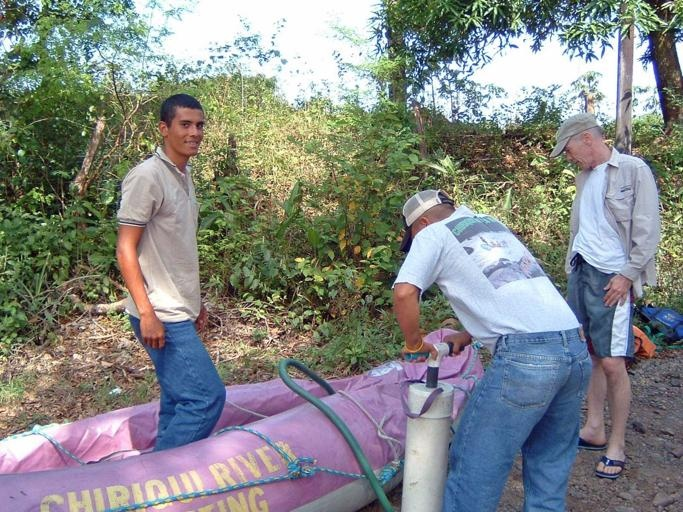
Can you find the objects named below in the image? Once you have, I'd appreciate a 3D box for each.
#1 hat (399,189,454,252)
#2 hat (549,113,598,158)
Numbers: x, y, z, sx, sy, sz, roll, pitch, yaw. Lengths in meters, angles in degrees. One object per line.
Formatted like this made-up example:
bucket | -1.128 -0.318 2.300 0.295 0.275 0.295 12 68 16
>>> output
hat | 0.450 -0.250 3.658 0.390 0.211 0.276 -44 -14 30
hat | 1.743 -0.950 4.546 0.397 0.209 0.259 -31 3 20
